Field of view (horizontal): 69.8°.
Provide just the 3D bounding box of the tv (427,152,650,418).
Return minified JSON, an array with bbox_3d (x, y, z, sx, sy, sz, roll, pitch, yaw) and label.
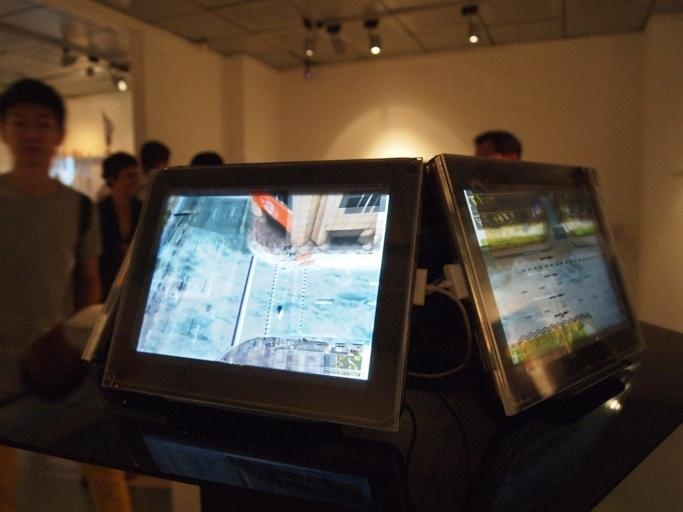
[{"bbox_3d":[0.315,0.020,0.731,0.347,0.339,0.031,-7,-9,-33],"label":"tv"}]
